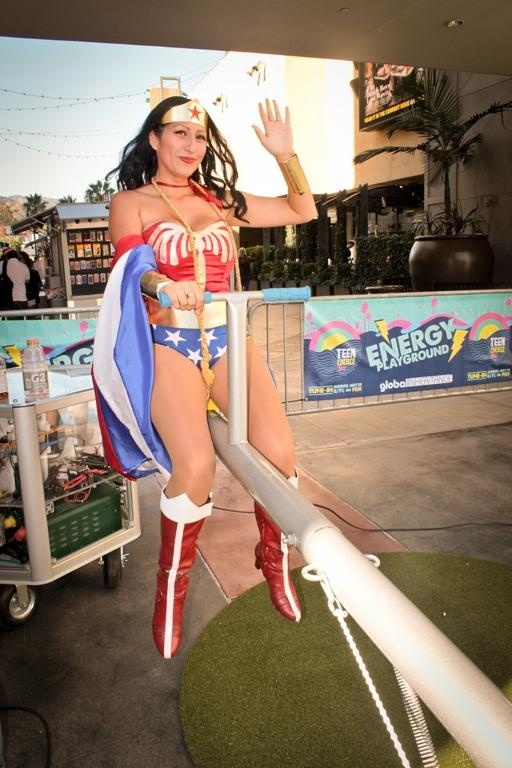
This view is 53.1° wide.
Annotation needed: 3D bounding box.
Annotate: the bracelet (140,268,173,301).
[{"bbox_3d":[-0.291,-0.284,1.473,0.082,0.056,0.109,-1,19,0],"label":"bracelet"}]
